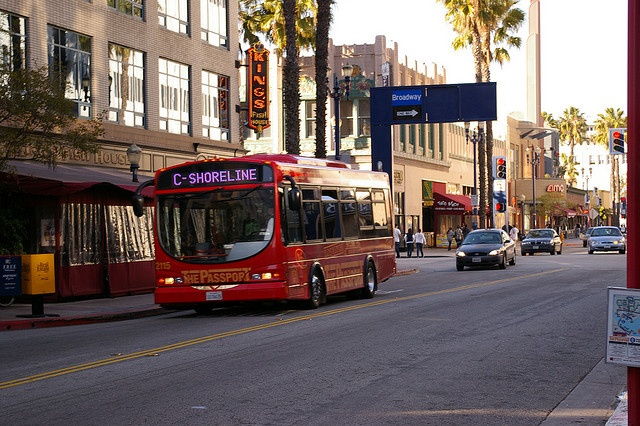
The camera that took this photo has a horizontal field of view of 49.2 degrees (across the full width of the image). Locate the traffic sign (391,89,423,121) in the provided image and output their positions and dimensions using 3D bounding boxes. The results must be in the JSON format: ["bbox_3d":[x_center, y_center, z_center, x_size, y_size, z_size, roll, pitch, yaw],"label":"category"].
[{"bbox_3d":[4.584,-5.919,37.666,1.713,1.791,0.208,-1,0,-4],"label":"traffic sign"}]

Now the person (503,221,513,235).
[{"bbox_3d":[17.330,1.374,64.835,0.905,1.030,3.663,-2,-8,15],"label":"person"}]

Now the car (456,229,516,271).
[{"bbox_3d":[8.492,1.880,36.194,2.783,2.004,3.119,-1,0,12],"label":"car"}]

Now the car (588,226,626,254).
[{"bbox_3d":[20.699,2.031,50.585,2.419,1.793,3.592,0,0,22],"label":"car"}]

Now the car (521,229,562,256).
[{"bbox_3d":[15.794,2.115,50.153,2.294,1.830,3.391,0,0,34],"label":"car"}]
